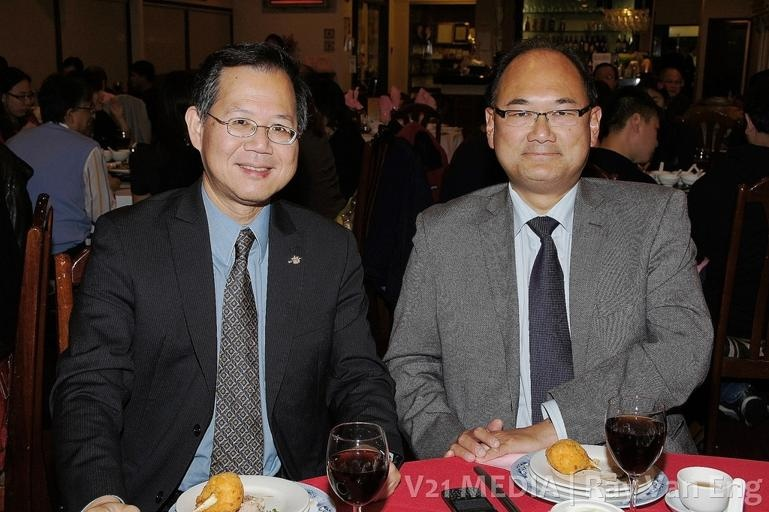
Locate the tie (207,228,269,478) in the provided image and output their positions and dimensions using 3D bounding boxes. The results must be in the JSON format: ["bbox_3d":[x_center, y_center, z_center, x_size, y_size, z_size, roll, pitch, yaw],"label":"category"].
[{"bbox_3d":[-0.429,0.288,1.718,0.141,0.715,0.236,2,11,12],"label":"tie"}]

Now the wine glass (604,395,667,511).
[{"bbox_3d":[0.574,0.437,1.319,0.171,0.211,0.122,-9,14,-39],"label":"wine glass"}]

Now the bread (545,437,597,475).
[{"bbox_3d":[0.454,0.469,1.376,0.089,0.050,0.071,11,32,15],"label":"bread"}]
